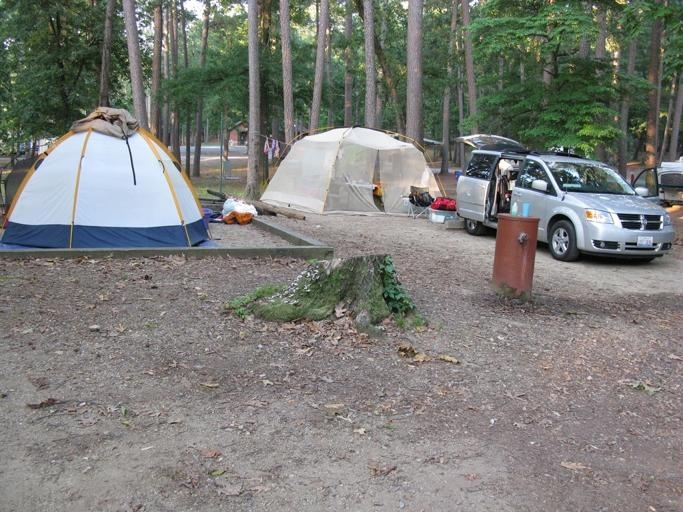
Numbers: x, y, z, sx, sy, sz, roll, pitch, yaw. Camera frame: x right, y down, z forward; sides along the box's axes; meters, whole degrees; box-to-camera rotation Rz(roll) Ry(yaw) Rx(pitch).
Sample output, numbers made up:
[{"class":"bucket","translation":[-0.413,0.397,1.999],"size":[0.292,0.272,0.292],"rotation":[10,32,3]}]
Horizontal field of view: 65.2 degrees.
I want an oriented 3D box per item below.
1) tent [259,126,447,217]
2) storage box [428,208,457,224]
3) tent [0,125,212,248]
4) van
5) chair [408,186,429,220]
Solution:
[{"class":"tent","translation":[0.419,-2.743,17.795],"size":[3.593,1.825,3.613],"rotation":[-5,13,-22]},{"class":"storage box","translation":[3.105,-1.256,16.430],"size":[0.585,0.266,0.461],"rotation":[0,11,-5]},{"class":"tent","translation":[-4.481,-1.090,10.958],"size":[2.520,1.723,2.564],"rotation":[0,2,-6]},{"class":"van","translation":[4.804,-1.393,12.730],"size":[2.647,2.364,5.433],"rotation":[-2,12,-22]},{"class":"chair","translation":[2.568,-1.806,17.519],"size":[0.802,1.083,0.862],"rotation":[0,-4,22]}]
